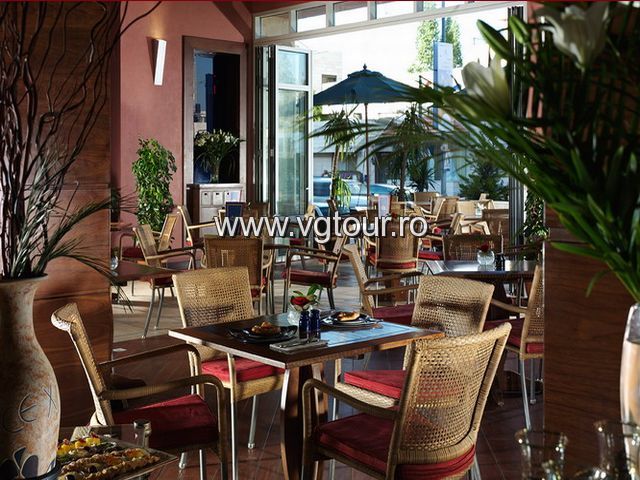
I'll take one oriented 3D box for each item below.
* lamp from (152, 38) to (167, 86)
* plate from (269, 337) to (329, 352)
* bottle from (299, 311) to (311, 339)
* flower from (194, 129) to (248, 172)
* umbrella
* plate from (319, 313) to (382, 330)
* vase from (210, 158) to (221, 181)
[{"bbox_3d":[-2.974,-3.233,9.684,0.218,0.764,0.327,-3,4,-23],"label":"lamp"},{"bbox_3d":[-0.104,0.513,2.609,0.288,0.027,0.167,-3,3,-26],"label":"plate"},{"bbox_3d":[-0.089,0.437,2.844,0.065,0.120,0.079,-2,4,-3],"label":"bottle"},{"bbox_3d":[-2.238,-1.875,11.013,1.005,0.788,1.015,-8,17,-30],"label":"flower"},{"bbox_3d":[0.782,-2.208,10.044,1.764,2.135,1.577,-3,-8,-42],"label":"umbrella"},{"bbox_3d":[0.172,0.467,3.044,0.335,0.048,0.219,-2,3,-1],"label":"plate"},{"bbox_3d":[-2.136,-1.389,10.575,0.203,0.490,0.249,-1,4,9],"label":"vase"}]
